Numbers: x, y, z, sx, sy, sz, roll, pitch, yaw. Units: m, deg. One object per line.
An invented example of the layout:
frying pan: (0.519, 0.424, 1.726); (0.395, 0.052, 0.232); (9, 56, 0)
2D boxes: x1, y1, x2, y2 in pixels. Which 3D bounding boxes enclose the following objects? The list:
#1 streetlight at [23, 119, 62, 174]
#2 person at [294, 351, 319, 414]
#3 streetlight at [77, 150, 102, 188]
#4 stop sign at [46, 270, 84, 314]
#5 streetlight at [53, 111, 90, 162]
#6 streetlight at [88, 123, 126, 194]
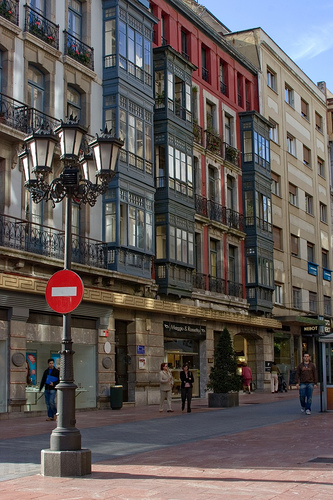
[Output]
streetlight: (-1.765, -1.419, 11.651); (0.462, 0.735, 0.498); (2, 2, -28)
person: (3.588, 3.405, 21.493); (0.517, 1.633, 0.547); (1, 8, 9)
streetlight: (-1.114, -1.182, 12.261); (0.343, 0.534, 0.296); (-19, 0, 38)
stop sign: (-1.317, 0.530, 10.739); (0.497, 0.694, 0.057); (-2, 36, -13)
streetlight: (-1.288, -1.503, 11.500); (0.508, 0.880, 0.527); (0, -5, 8)
streetlight: (-0.845, -1.229, 11.626); (0.391, 0.924, 0.408); (6, -2, -36)
